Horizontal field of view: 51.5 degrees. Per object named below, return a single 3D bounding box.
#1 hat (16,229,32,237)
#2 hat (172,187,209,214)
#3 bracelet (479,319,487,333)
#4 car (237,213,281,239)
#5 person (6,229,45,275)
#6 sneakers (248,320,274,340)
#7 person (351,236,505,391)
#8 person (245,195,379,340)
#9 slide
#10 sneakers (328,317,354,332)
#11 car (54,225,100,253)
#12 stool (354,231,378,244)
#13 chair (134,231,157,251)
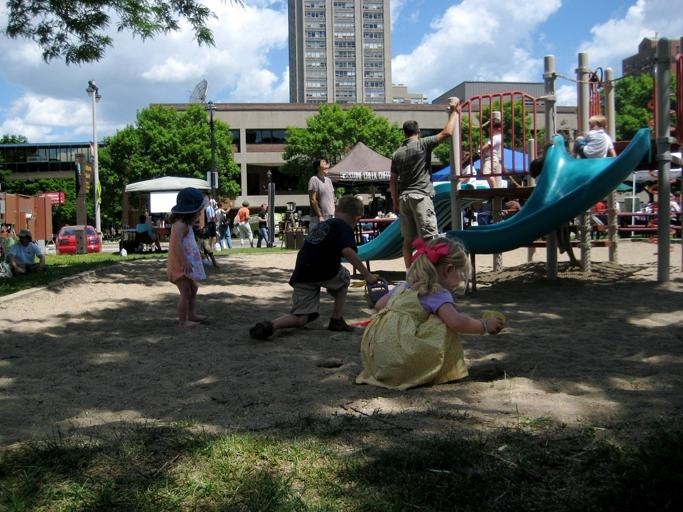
[{"bbox_3d":[-5.120,-0.361,11.449,0.165,0.155,0.377,-5,9,-22],"label":"hat"},{"bbox_3d":[-1.483,-0.542,6.940,0.238,0.137,0.303,-13,12,5],"label":"hat"},{"bbox_3d":[0.989,0.485,4.961,0.053,0.098,0.115,0,8,9],"label":"bracelet"},{"bbox_3d":[-3.985,-1.350,33.054,2.279,1.162,1.302,2,2,-3],"label":"car"},{"bbox_3d":[-4.990,-0.109,11.587,0.753,0.845,0.650,-4,5,-40],"label":"person"},{"bbox_3d":[-0.704,0.648,6.220,0.217,0.168,0.208,-3,8,-7],"label":"sneakers"},{"bbox_3d":[0.591,0.308,5.322,1.070,1.077,1.047,-3,8,-32],"label":"person"},{"bbox_3d":[-0.270,0.057,6.897,1.417,1.436,0.948,-1,6,-37],"label":"person"},{"bbox_3d":[1.827,-0.674,8.752,3.461,1.326,1.841,-3,8,18],"label":"slide"},{"bbox_3d":[-0.024,0.634,6.543,0.207,0.088,0.112,0,-1,-3],"label":"sneakers"},{"bbox_3d":[-8.607,-0.399,23.146,1.156,0.877,2.717,-3,6,-19],"label":"car"},{"bbox_3d":[0.536,-0.449,15.924,0.485,0.311,0.689,2,-2,-38],"label":"stool"},{"bbox_3d":[-5.304,-0.428,19.264,0.596,0.647,1.379,-4,8,-16],"label":"chair"}]
